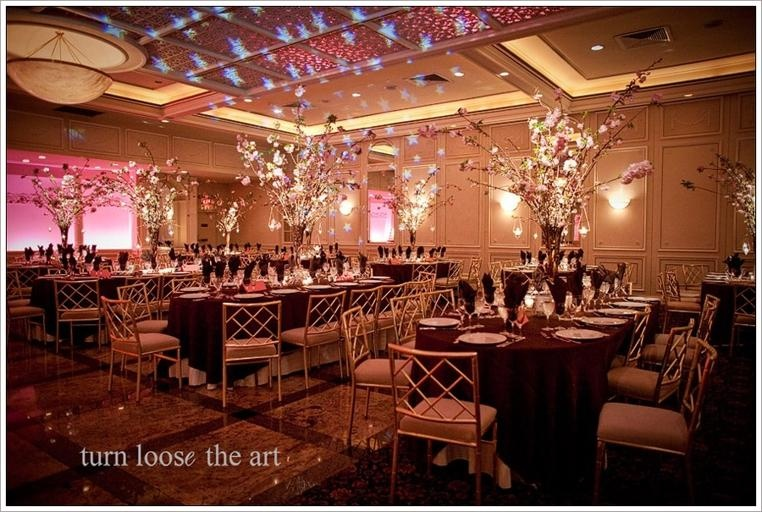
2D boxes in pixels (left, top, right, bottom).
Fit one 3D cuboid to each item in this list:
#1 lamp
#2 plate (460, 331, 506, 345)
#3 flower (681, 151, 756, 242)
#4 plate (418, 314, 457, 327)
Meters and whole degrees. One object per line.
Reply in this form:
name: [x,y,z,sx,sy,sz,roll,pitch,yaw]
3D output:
lamp: [-4.120,-2.599,6.408,1.398,0.649,1.421,-1,-10,1]
plate: [0.905,0.743,4.257,0.439,0.056,0.230,0,2,10]
flower: [6.519,-1.027,8.770,0.875,1.865,1.359,-1,3,-2]
plate: [0.576,0.658,4.753,0.420,0.064,0.334,0,2,-1]
